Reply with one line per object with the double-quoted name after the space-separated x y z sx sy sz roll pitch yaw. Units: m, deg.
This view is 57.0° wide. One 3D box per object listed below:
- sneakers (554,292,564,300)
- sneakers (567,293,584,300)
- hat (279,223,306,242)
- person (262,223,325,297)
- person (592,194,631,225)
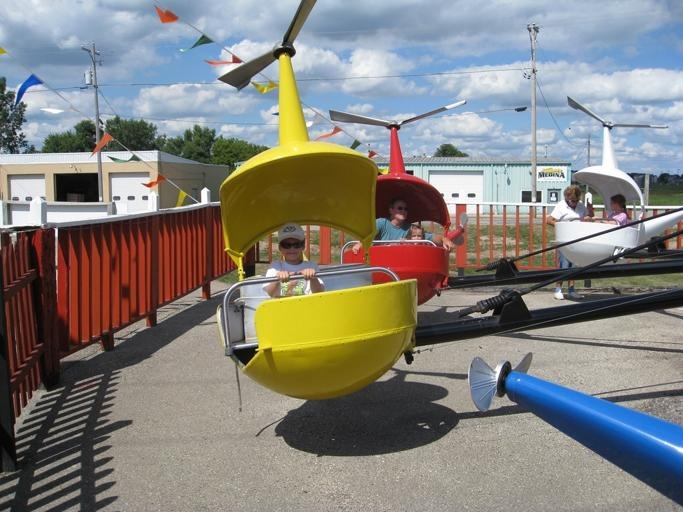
3.507 0.649 10.083 0.101 0.160 0.165 0 -8 -7 "sneakers"
3.795 0.665 10.247 0.107 0.109 0.273 -2 1 -40 "sneakers"
-0.422 -0.193 5.306 0.204 0.149 0.327 0 -4 -3 "hat"
-0.415 0.133 5.361 0.536 0.811 0.461 -2 9 3 "person"
4.257 -0.737 9.776 0.347 0.413 1.094 4 11 23 "person"
